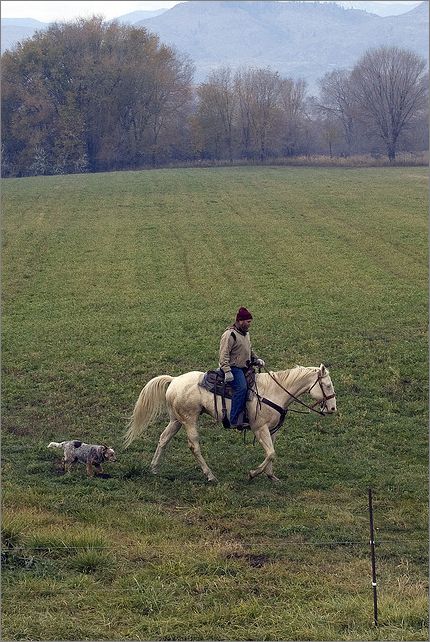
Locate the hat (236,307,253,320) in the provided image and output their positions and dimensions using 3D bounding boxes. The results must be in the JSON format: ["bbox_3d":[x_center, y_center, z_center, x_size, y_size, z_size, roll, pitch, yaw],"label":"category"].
[{"bbox_3d":[0.877,-0.121,38.775,0.372,0.443,0.329,2,14,27],"label":"hat"}]

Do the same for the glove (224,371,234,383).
[{"bbox_3d":[0.399,1.821,38.626,0.295,0.418,0.288,-2,8,0],"label":"glove"}]

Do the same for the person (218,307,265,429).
[{"bbox_3d":[0.693,1.568,38.790,1.173,3.709,0.651,-4,8,-15],"label":"person"}]
